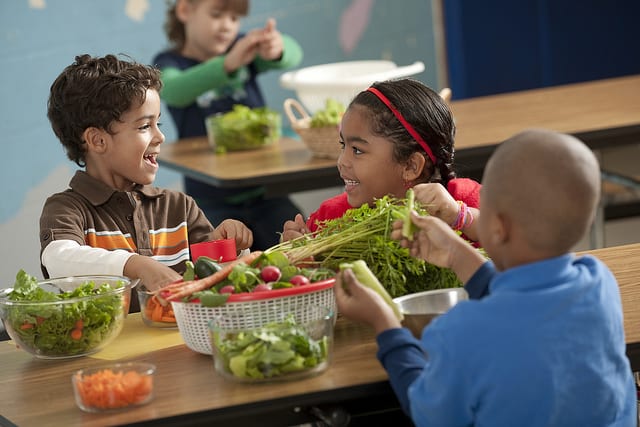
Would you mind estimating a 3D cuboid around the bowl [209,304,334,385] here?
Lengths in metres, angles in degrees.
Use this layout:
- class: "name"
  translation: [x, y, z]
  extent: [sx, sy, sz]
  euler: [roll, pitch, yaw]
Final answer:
- class: "bowl"
  translation: [-0.114, 0.317, 1.419]
  extent: [0.240, 0.099, 0.188]
  euler: [-2, 0, -18]

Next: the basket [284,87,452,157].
- class: "basket"
  translation: [0.191, -0.379, 2.388]
  extent: [0.477, 0.211, 0.421]
  euler: [-9, 14, -15]

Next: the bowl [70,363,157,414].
- class: "bowl"
  translation: [-0.481, 0.405, 1.337]
  extent: [0.139, 0.054, 0.127]
  euler: [-2, 6, 0]

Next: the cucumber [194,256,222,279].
- class: "cucumber"
  translation: [-0.310, 0.145, 1.555]
  extent: [0.046, 0.048, 0.078]
  euler: [-14, 12, -42]

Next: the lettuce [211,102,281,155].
- class: "lettuce"
  translation: [-0.427, -0.463, 3.313]
  extent: [0.318, 0.188, 0.315]
  euler: [-4, 7, 9]

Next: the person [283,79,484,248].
- class: "person"
  translation: [0.216, -0.234, 2.185]
  extent: [0.741, 0.735, 0.504]
  euler: [2, 12, 12]

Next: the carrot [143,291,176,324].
- class: "carrot"
  translation: [-0.484, 0.284, 1.763]
  extent: [0.107, 0.074, 0.106]
  euler: [0, -8, 7]

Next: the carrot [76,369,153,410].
- class: "carrot"
  translation: [-0.476, 0.409, 1.332]
  extent: [0.116, 0.043, 0.108]
  euler: [-1, 5, -15]

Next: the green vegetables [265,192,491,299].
- class: "green vegetables"
  translation: [0.132, 0.100, 1.639]
  extent: [0.377, 0.177, 0.364]
  euler: [-3, -11, 11]
